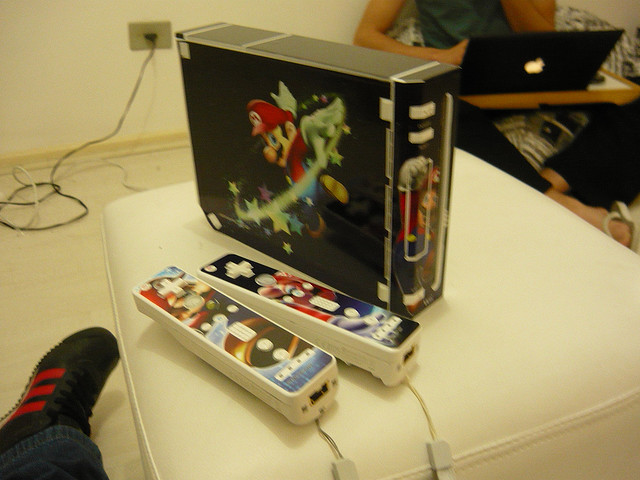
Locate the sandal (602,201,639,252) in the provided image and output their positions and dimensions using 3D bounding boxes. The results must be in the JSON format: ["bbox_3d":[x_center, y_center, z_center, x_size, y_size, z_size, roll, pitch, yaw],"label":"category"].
[{"bbox_3d":[0.824,-0.041,1.407,0.106,0.066,0.115,29,51,26],"label":"sandal"}]

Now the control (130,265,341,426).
[{"bbox_3d":[-0.134,0.148,0.765,0.341,0.086,0.102,24,35,30],"label":"control"}]

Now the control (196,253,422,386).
[{"bbox_3d":[-0.035,0.111,0.803,0.357,0.089,0.093,18,31,27],"label":"control"}]
